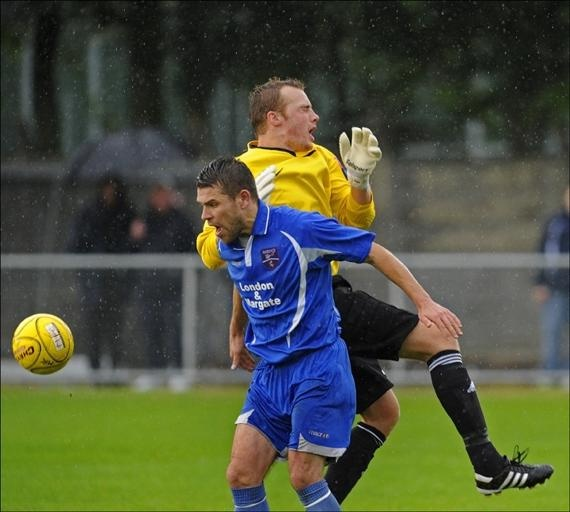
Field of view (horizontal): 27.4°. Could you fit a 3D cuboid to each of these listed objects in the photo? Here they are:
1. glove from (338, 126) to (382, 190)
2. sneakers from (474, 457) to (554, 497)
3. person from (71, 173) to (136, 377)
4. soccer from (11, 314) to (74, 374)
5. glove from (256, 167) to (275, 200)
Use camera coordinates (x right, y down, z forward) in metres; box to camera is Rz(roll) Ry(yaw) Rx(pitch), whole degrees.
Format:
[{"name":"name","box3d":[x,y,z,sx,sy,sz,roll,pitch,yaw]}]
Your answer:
[{"name":"glove","box3d":[0.388,-0.521,6.136,0.199,0.412,0.122,16,41,11]},{"name":"sneakers","box3d":[1.205,1.144,6.149,0.483,0.206,0.164,-5,6,-35]},{"name":"person","box3d":[-1.127,0.112,7.333,0.400,1.205,0.162,-2,4,-13]},{"name":"soccer","box3d":[-1.335,0.495,6.499,0.321,0.336,0.171,-3,5,-15]},{"name":"glove","box3d":[-0.096,-0.375,6.024,0.106,0.164,0.049,27,5,39]}]
